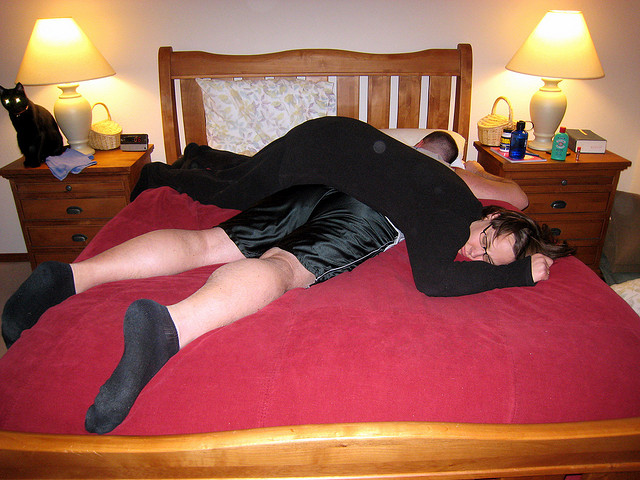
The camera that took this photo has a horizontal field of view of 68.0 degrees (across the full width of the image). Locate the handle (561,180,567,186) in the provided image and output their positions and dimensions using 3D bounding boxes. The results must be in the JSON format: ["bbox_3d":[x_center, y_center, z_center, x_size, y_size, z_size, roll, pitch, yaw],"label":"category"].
[{"bbox_3d":[1.410,-0.329,2.749,0.037,0.034,0.006,-4,24,-13],"label":"handle"}]

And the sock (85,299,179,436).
[{"bbox_3d":[-0.533,0.333,1.384,0.193,0.432,0.138,26,0,-37],"label":"sock"}]

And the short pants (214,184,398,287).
[{"bbox_3d":[-0.028,-0.065,1.883,0.572,0.218,0.417,-24,48,-40],"label":"short pants"}]

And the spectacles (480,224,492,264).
[{"bbox_3d":[0.637,0.011,1.830,0.051,0.133,0.063,6,23,10],"label":"spectacles"}]

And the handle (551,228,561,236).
[{"bbox_3d":[1.410,-0.050,2.840,0.059,0.042,0.014,-7,1,-26],"label":"handle"}]

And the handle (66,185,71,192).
[{"bbox_3d":[-1.406,-0.288,2.640,0.024,0.033,0.007,5,23,8],"label":"handle"}]

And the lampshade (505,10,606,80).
[{"bbox_3d":[1.278,-1.043,2.697,0.440,0.318,0.430,5,29,2],"label":"lampshade"}]

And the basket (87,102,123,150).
[{"bbox_3d":[-1.305,-0.628,2.861,0.188,0.159,0.129,-7,24,-21],"label":"basket"}]

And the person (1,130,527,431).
[{"bbox_3d":[-0.132,0.035,1.790,1.746,0.365,0.820,-21,44,-28],"label":"person"}]

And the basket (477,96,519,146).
[{"bbox_3d":[1.118,-0.750,2.980,0.286,0.270,0.200,-16,22,-25],"label":"basket"}]
